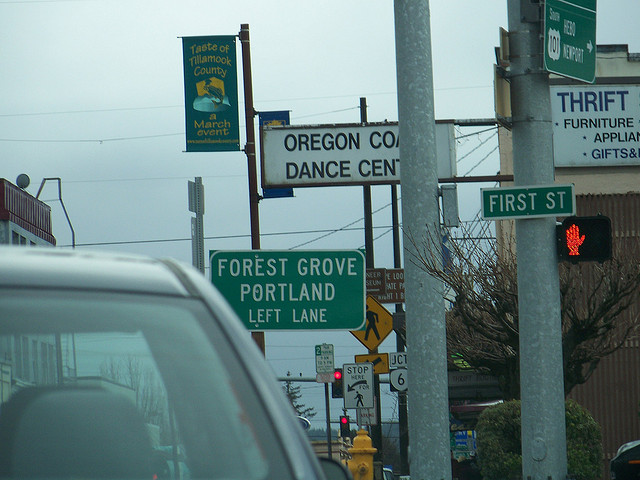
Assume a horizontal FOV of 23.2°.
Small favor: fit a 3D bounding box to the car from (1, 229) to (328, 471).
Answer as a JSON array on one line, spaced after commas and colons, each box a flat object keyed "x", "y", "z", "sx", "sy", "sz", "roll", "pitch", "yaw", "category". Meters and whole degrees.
[{"x": -1.317, "y": 1.034, "z": 13.847, "sx": 2.940, "sy": 1.643, "sz": 1.776, "roll": 1, "pitch": -1, "yaw": -12, "category": "car"}]

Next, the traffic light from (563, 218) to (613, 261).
[{"x": 3.291, "y": 0.009, "z": 19.220, "sx": 0.442, "sy": 0.485, "sz": 0.169, "roll": -1, "pitch": -3, "yaw": 0, "category": "traffic light"}]
